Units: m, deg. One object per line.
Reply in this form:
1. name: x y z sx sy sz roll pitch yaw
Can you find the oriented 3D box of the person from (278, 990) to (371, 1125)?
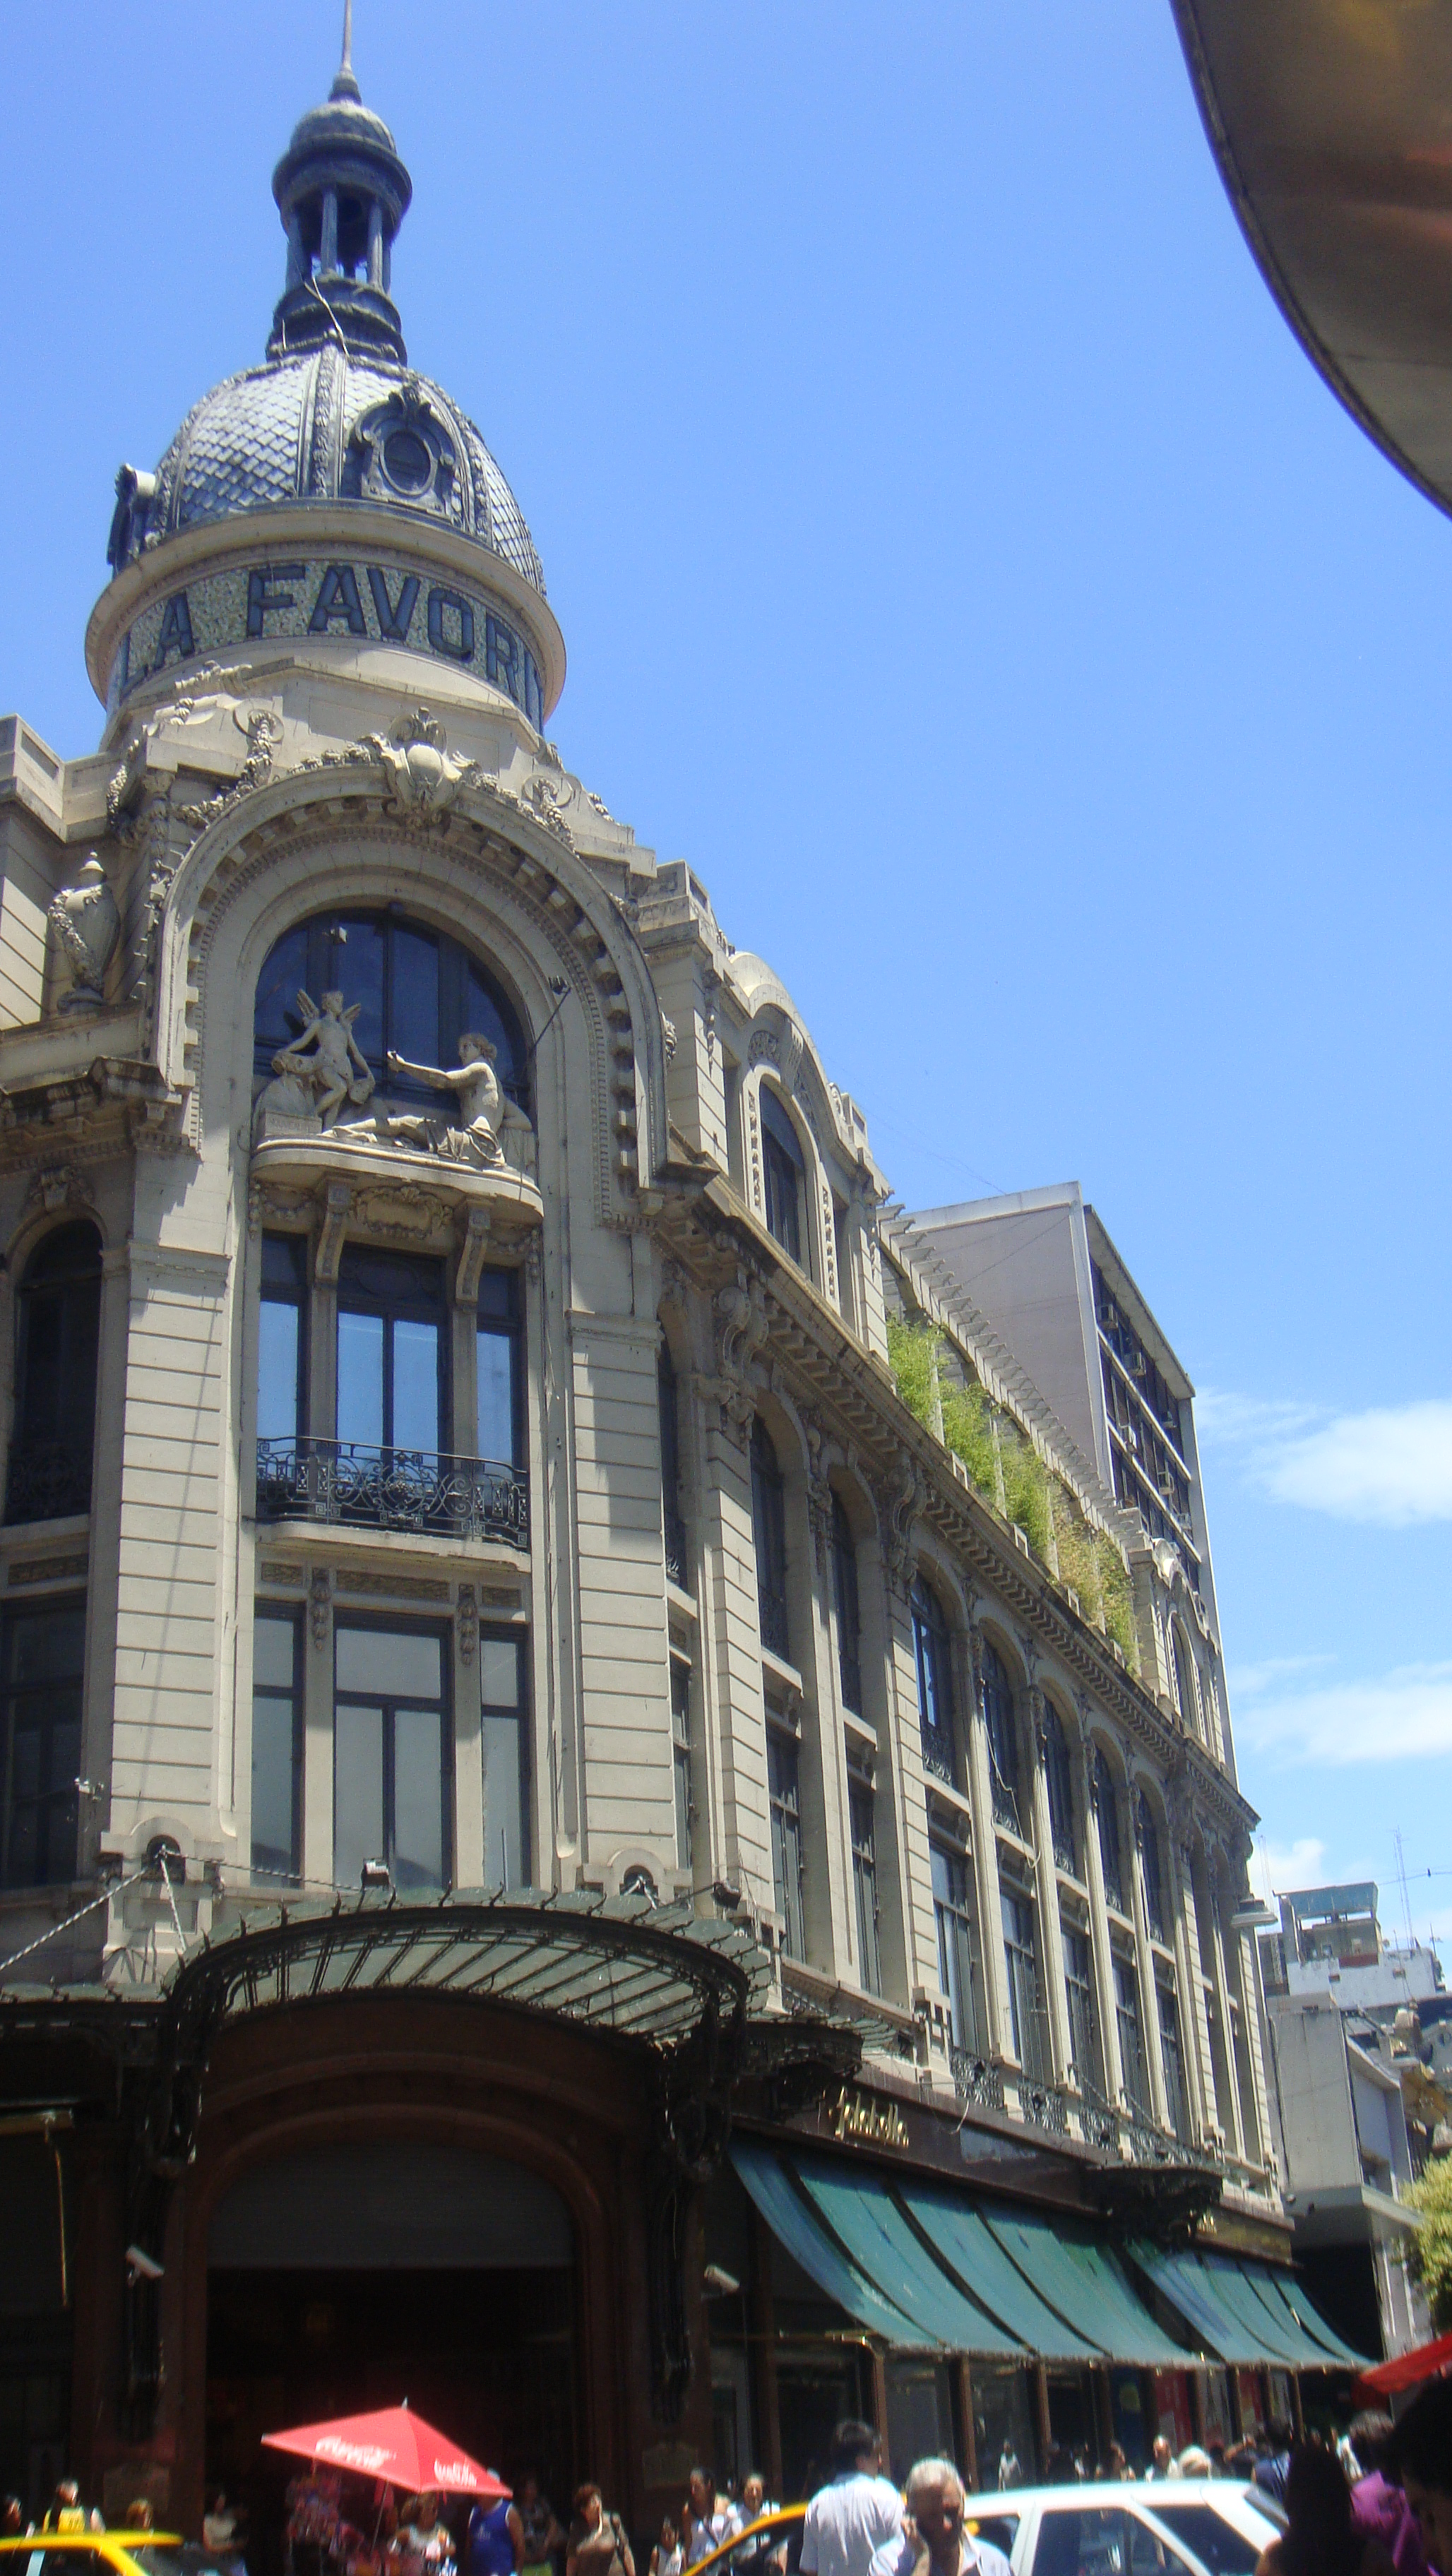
1. person: -4.024 -2.357 24.549 1.041 1.585 0.414 10 -24 -32
